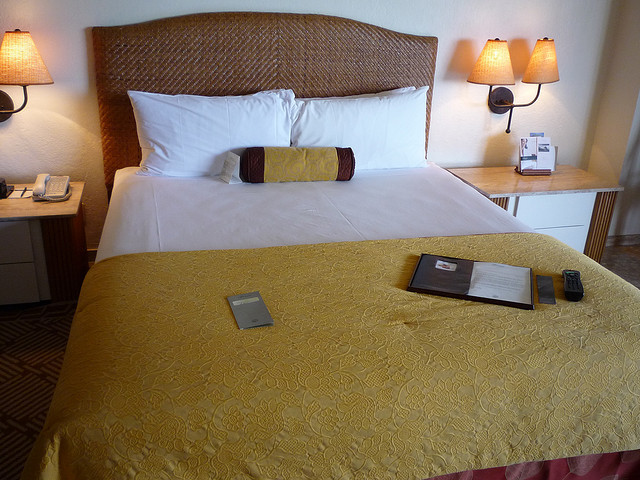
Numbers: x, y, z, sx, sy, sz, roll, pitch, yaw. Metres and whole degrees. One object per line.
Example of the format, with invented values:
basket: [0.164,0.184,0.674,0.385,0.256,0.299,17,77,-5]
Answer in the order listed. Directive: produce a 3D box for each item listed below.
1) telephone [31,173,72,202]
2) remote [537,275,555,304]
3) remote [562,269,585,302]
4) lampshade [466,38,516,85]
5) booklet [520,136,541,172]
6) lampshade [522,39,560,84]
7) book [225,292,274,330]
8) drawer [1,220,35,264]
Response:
telephone: [-1.580,-0.290,2.398,0.190,0.048,0.230,-2,39,-18]
remote: [0.805,0.186,1.427,0.034,0.002,0.098,3,31,14]
remote: [0.920,0.145,1.450,0.055,0.126,0.032,-2,39,38]
lampshade: [1.222,-1.271,2.805,0.343,0.289,0.335,12,34,25]
booklet: [1.549,-0.626,2.914,0.037,0.264,0.208,-12,14,-21]
lampshade: [1.542,-1.244,2.798,0.226,0.312,0.223,-4,27,-14]
book: [-0.227,0.229,1.284,0.112,0.020,0.168,-7,37,-26]
drawer: [-1.685,0.013,2.225,0.237,0.237,0.056,-6,14,-25]
